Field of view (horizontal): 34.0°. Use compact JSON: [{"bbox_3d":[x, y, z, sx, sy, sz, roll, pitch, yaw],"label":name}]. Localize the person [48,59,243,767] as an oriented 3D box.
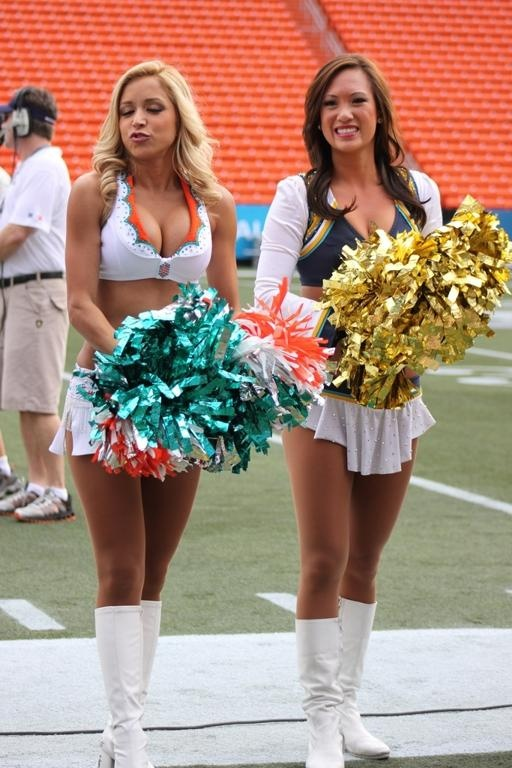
[{"bbox_3d":[-0.250,0.057,1.749,0.375,1.476,0.513,4,5,1],"label":"person"}]
